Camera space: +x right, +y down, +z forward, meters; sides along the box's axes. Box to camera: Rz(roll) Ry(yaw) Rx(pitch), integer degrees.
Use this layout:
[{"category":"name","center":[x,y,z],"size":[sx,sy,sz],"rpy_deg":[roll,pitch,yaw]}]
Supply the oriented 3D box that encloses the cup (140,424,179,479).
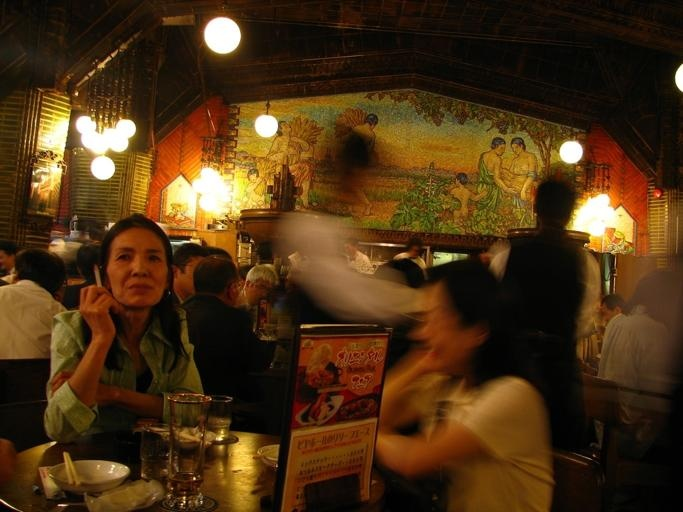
[{"category":"cup","center":[-0.648,0.687,2.020],"size":[0.128,0.140,0.125],"rpy_deg":[2,-13,0]}]
